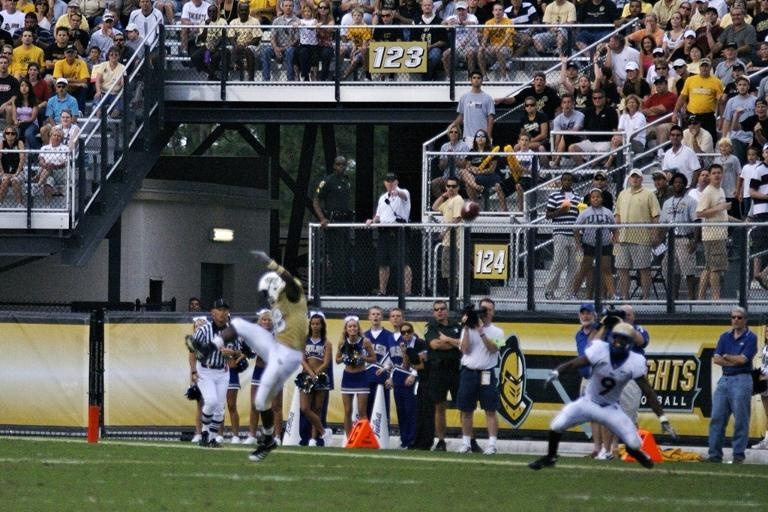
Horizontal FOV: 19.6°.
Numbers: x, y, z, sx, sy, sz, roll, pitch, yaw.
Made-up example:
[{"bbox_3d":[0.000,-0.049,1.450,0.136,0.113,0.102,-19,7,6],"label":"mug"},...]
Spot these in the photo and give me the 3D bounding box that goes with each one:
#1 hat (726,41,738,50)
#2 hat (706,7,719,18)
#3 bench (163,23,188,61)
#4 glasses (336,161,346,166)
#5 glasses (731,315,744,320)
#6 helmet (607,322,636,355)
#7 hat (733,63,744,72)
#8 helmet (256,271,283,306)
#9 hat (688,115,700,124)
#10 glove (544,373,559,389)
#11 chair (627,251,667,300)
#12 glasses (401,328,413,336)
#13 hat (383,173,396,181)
[{"bbox_3d":[7.591,-4.687,48.400,0.151,0.229,0.227,-6,4,10],"label":"hat"},{"bbox_3d":[7.324,-5.544,49.560,0.214,0.171,0.217,8,-1,5],"label":"hat"},{"bbox_3d":[-4.831,-5.137,52.141,0.720,0.772,0.746,0,2,-5],"label":"bench"},{"bbox_3d":[-0.959,-2.086,49.106,0.252,0.113,0.235,1,-4,-28],"label":"glasses"},{"bbox_3d":[6.978,1.220,43.701,0.273,0.095,0.151,-2,-4,17],"label":"glasses"},{"bbox_3d":[4.404,1.513,41.253,0.395,0.478,0.549,5,26,11],"label":"helmet"},{"bbox_3d":[7.684,-4.129,48.176,0.158,0.234,0.236,-3,27,15],"label":"hat"},{"bbox_3d":[-2.135,0.568,41.588,0.485,0.576,0.577,-26,-5,-9],"label":"helmet"},{"bbox_3d":[6.604,-2.974,47.515,0.237,0.209,0.179,-3,-4,25],"label":"hat"},{"bbox_3d":[3.120,2.359,41.270,0.364,0.205,0.603,-6,3,15],"label":"glove"},{"bbox_3d":[5.488,0.365,45.218,0.844,1.134,0.876,-2,-6,26],"label":"chair"},{"bbox_3d":[0.451,1.548,45.099,0.213,0.110,0.075,0,-3,-11],"label":"glasses"},{"bbox_3d":[0.129,-1.752,48.210,0.220,0.229,0.504,-1,-3,-2],"label":"hat"}]
